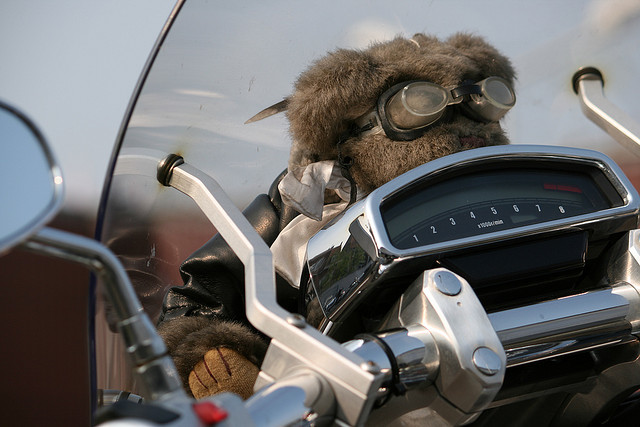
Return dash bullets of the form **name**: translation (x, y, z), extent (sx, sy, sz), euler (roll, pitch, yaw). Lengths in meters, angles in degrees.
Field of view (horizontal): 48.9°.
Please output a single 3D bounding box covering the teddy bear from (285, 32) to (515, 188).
- **teddy bear**: translation (0.281, -0.259, 2.055), extent (0.663, 0.420, 0.601), euler (-7, 8, -13)
